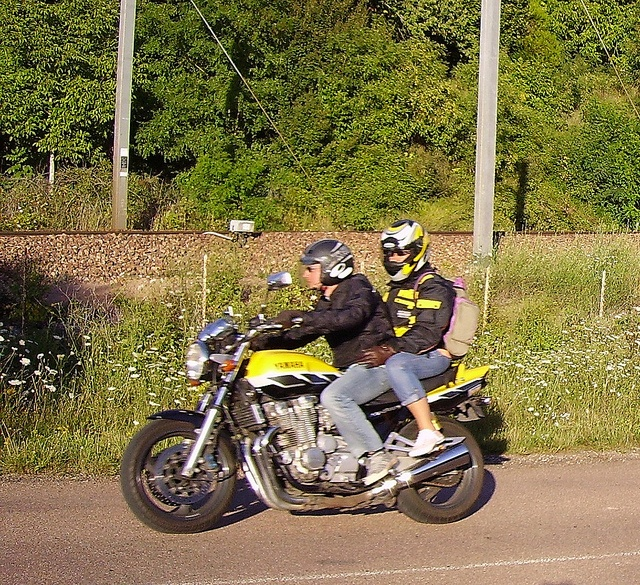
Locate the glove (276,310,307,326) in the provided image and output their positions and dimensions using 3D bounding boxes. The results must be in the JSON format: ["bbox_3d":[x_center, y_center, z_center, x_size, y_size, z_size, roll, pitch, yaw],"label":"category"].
[{"bbox_3d":[-0.221,0.184,6.151,0.174,0.110,0.174,10,12,25],"label":"glove"}]

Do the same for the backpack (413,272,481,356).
[{"bbox_3d":[0.791,0.173,6.961,0.681,0.623,0.441,7,1,-1],"label":"backpack"}]

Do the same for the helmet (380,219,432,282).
[{"bbox_3d":[0.613,-0.290,6.694,0.365,0.379,0.463,3,17,36],"label":"helmet"}]

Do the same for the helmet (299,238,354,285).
[{"bbox_3d":[0.024,-0.204,6.435,0.394,0.269,0.277,0,7,-3],"label":"helmet"}]
